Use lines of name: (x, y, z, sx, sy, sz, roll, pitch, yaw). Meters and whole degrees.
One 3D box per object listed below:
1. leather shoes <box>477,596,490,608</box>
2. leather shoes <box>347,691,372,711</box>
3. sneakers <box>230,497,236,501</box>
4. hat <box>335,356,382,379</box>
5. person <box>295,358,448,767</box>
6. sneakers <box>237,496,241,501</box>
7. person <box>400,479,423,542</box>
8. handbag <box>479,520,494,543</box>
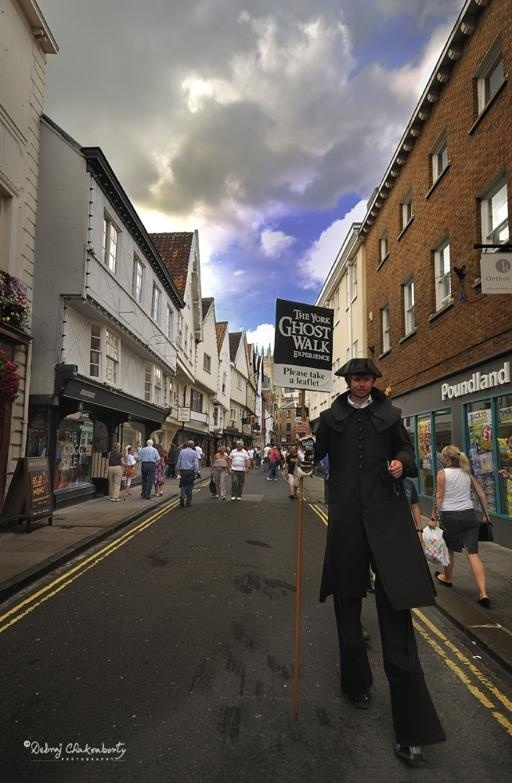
leather shoes: (2.215, 2.042, 4.692, 0.101, 0.087, 0.215, -3, -9, 26)
leather shoes: (0.583, 1.743, 2.708, 0.055, 0.087, 0.193, -1, -32, 5)
sneakers: (-0.677, 3.326, 14.893, 0.097, 0.078, 0.191, 5, -8, 5)
hat: (0.621, -0.133, 2.774, 0.174, 0.077, 0.166, -1, -3, -11)
person: (0.680, 0.774, 2.622, 0.474, 1.967, 0.820, 6, -8, -38)
sneakers: (-0.507, 3.279, 14.719, 0.076, 0.156, 0.145, 1, -20, 2)
person: (1.901, 1.354, 5.873, 0.171, 0.820, 0.185, -15, 13, 18)
handbag: (2.546, 1.559, 5.354, 0.113, 0.235, 0.310, -4, -9, 33)
